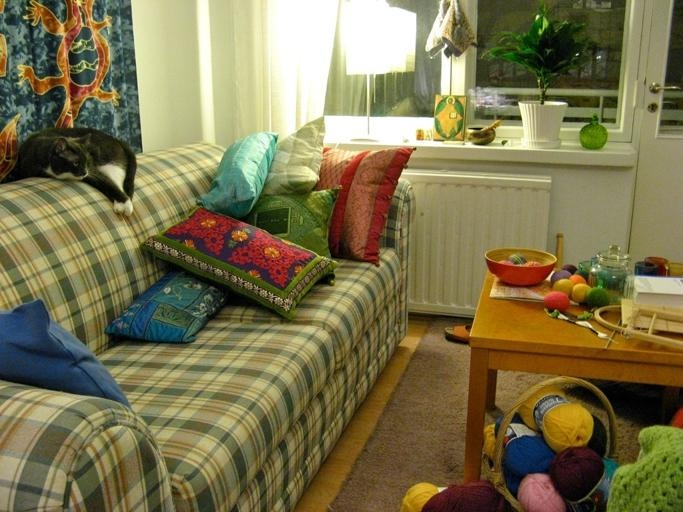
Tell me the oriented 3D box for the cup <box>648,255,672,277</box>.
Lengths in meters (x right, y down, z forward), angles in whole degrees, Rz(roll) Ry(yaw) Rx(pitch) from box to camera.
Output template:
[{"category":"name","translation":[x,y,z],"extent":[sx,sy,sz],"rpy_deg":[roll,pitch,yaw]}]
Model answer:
[{"category":"cup","translation":[1.239,0.040,2.120],"extent":[0.066,0.066,0.068],"rpy_deg":[-3,20,1]}]

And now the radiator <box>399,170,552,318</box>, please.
[{"category":"radiator","translation":[0.677,-0.106,2.702],"extent":[0.739,0.674,0.082],"rpy_deg":[4,9,16]}]

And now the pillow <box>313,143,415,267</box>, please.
[{"category":"pillow","translation":[0.143,-0.229,2.573],"extent":[0.502,0.524,0.154],"rpy_deg":[12,-4,38]}]

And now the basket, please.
[{"category":"basket","translation":[0.622,0.531,1.637],"extent":[0.417,0.310,0.225],"rpy_deg":[-13,20,-29]}]

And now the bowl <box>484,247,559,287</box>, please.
[{"category":"bowl","translation":[0.688,0.041,2.118],"extent":[0.250,0.099,0.259],"rpy_deg":[0,9,0]}]

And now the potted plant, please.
[{"category":"potted plant","translation":[1.073,-0.991,3.110],"extent":[0.649,0.797,0.731],"rpy_deg":[6,19,28]}]

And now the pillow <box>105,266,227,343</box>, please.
[{"category":"pillow","translation":[-0.588,0.188,1.859],"extent":[0.200,0.101,0.335],"rpy_deg":[23,28,8]}]

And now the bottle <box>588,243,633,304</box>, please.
[{"category":"bottle","translation":[0.984,0.064,2.050],"extent":[0.198,0.224,0.162],"rpy_deg":[5,11,32]}]
